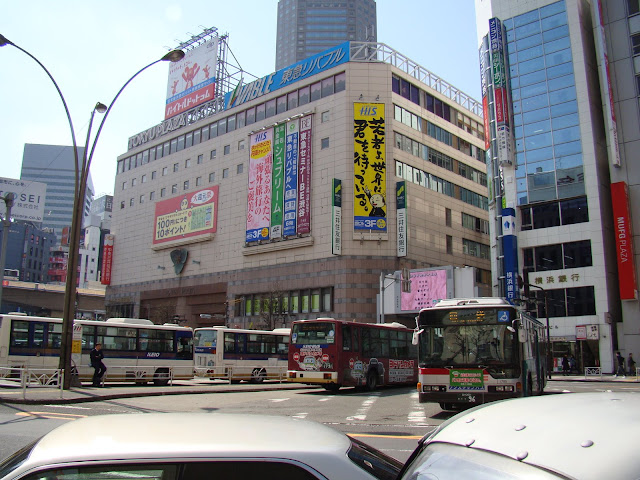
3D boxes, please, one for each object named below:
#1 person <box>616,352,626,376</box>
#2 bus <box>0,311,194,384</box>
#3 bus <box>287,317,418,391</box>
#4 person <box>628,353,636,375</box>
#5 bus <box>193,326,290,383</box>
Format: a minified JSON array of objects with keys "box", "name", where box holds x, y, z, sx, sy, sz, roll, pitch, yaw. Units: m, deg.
[{"box":[18.575,7.627,36.178,0.467,1.395,1.790,-9,-15,25],"name":"person"},{"box":[-8.825,4.936,26.960,10.466,3.305,2.961,8,-13,-38],"name":"bus"},{"box":[2.061,5.219,26.475,2.444,2.919,7.789,-14,-18,40],"name":"bus"},{"box":[19.718,7.904,37.028,0.469,1.307,2.168,-9,-15,26],"name":"person"},{"box":[-4.391,6.478,32.696,5.397,2.938,2.408,11,-19,-43],"name":"bus"}]
